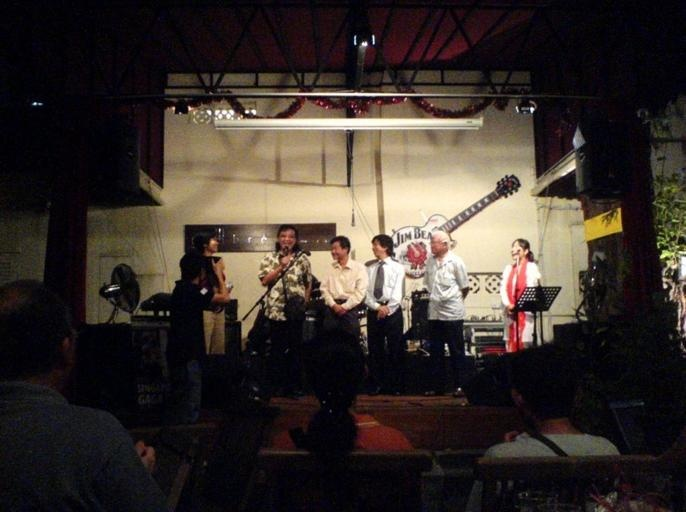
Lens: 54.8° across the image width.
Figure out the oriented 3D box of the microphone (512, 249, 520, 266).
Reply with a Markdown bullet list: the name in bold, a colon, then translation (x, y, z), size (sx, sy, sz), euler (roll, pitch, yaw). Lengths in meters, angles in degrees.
- **microphone**: translation (1.867, 0.014, 6.986), size (0.123, 0.173, 0.124), euler (3, -4, -5)

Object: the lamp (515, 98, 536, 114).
- **lamp**: translation (2.021, -1.683, 7.358), size (0.214, 0.200, 0.213), euler (-1, -4, 1)

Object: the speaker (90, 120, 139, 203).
- **speaker**: translation (-2.138, -0.911, 6.173), size (0.622, 0.655, 0.356), euler (5, 6, 33)

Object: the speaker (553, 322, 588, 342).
- **speaker**: translation (2.011, 0.685, 5.878), size (0.162, 0.217, 0.307), euler (-2, 2, -15)

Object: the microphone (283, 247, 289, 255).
- **microphone**: translation (-0.543, -0.045, 6.312), size (0.054, 0.067, 0.064), euler (-1, 6, -1)

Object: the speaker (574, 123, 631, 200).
- **speaker**: translation (2.301, -0.863, 5.890), size (0.436, 0.680, 0.282), euler (-3, -5, 23)

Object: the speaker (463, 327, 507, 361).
- **speaker**: translation (1.556, 0.900, 7.162), size (0.372, 0.391, 0.346), euler (0, -18, -2)
